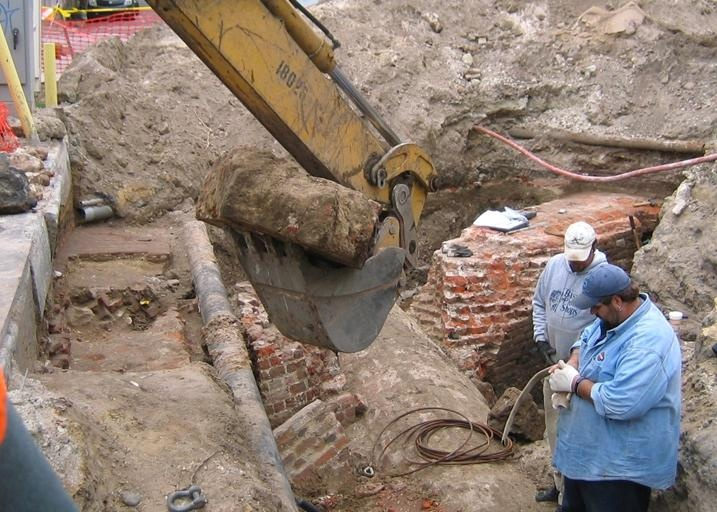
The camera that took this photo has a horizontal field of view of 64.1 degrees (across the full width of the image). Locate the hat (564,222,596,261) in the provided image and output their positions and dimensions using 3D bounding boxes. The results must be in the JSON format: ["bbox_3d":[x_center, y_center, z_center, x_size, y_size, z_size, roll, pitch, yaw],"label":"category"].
[{"bbox_3d":[1.873,-0.160,4.870,0.248,0.400,0.198,10,-18,29],"label":"hat"}]

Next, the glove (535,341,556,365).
[{"bbox_3d":[1.786,0.889,5.348,0.054,0.152,0.207,-9,39,-22],"label":"glove"}]

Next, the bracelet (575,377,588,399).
[{"bbox_3d":[1.507,0.899,3.875,0.087,0.057,0.115,-2,61,-3],"label":"bracelet"}]

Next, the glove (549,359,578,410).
[{"bbox_3d":[1.443,0.912,4.050,0.123,0.297,0.292,4,6,15],"label":"glove"}]
